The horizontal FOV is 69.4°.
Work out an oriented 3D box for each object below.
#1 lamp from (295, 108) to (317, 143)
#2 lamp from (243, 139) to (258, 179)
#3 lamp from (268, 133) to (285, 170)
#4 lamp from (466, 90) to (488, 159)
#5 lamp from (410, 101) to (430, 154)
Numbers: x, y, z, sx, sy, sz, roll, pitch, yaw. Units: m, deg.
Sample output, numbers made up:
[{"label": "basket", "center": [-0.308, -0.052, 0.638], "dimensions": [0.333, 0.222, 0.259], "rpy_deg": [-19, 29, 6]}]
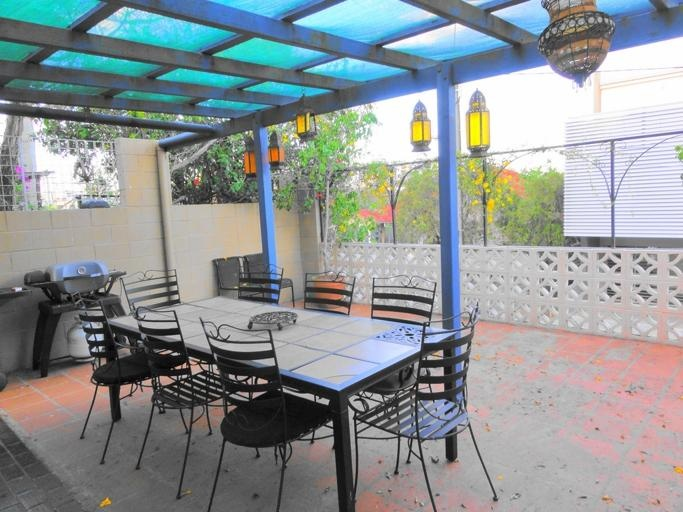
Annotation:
[{"label": "lamp", "center": [-0.325, -1.182, 4.490], "dimensions": [0.171, 0.252, 0.147], "rpy_deg": [-5, 7, -8]}, {"label": "lamp", "center": [-1.119, -1.201, 5.997], "dimensions": [0.118, 0.487, 0.223], "rpy_deg": [-6, 8, -17]}, {"label": "lamp", "center": [-0.780, -1.236, 5.766], "dimensions": [0.182, 0.421, 0.284], "rpy_deg": [-5, 7, -7]}, {"label": "lamp", "center": [1.165, -1.142, 4.206], "dimensions": [0.201, 0.562, 0.205], "rpy_deg": [-2, 8, 14]}, {"label": "lamp", "center": [0.731, -1.214, 4.588], "dimensions": [0.190, 0.483, 0.139], "rpy_deg": [-3, 8, 7]}]
